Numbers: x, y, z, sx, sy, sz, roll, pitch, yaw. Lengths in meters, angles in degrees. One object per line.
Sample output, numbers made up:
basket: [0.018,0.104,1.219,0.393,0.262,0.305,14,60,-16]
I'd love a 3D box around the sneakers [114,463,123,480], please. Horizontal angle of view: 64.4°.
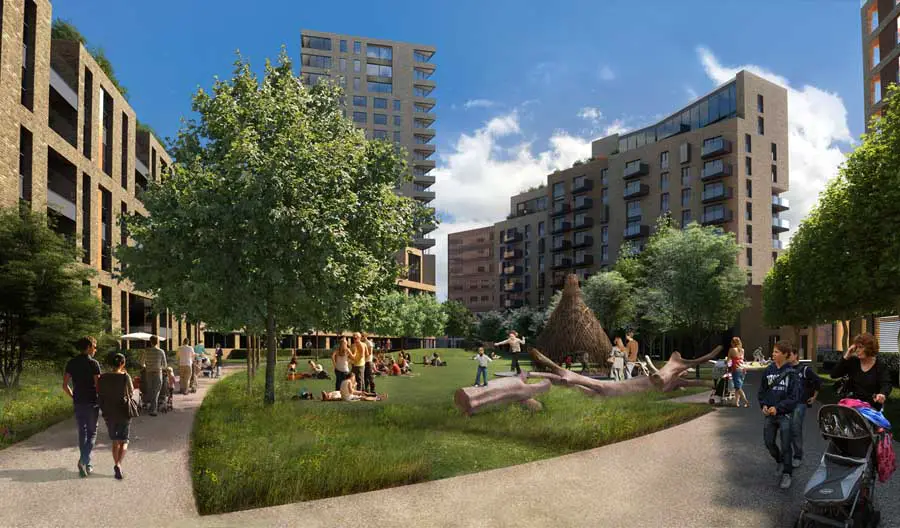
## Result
sneakers: [-9.528,5.956,20.527,0.205,0.469,0.205,-2,-5,-1]

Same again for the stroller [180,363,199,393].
stroller: [-11.840,5.169,32.255,0.756,1.262,1.238,1,-3,13]

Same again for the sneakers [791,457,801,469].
sneakers: [10.140,5.838,20.918,0.233,0.238,0.603,-6,-18,29]

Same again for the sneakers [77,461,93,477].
sneakers: [-10.505,5.915,20.515,0.207,0.285,0.618,-37,-15,-8]
